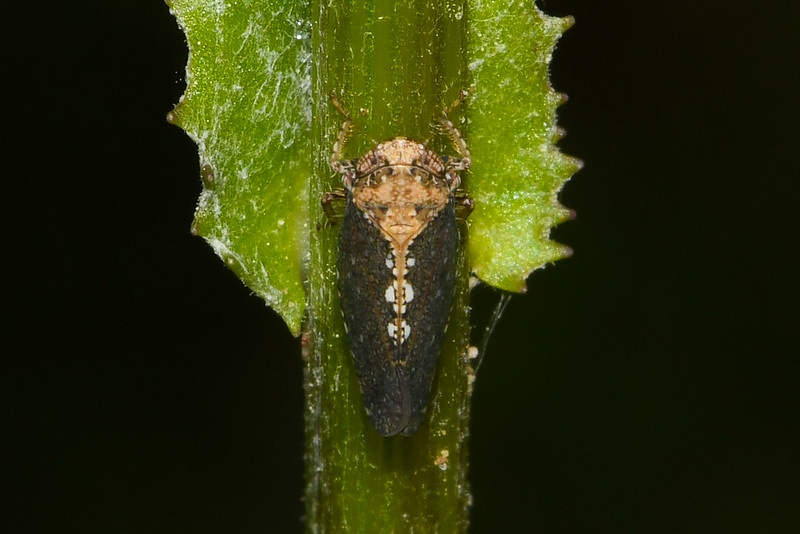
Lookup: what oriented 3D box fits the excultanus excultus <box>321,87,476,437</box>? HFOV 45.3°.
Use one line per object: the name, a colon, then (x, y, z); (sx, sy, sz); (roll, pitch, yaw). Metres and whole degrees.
excultanus excultus: (0.024, -0.012, 6.483); (1.106, 2.038, 0.596); (-21, 18, -7)
